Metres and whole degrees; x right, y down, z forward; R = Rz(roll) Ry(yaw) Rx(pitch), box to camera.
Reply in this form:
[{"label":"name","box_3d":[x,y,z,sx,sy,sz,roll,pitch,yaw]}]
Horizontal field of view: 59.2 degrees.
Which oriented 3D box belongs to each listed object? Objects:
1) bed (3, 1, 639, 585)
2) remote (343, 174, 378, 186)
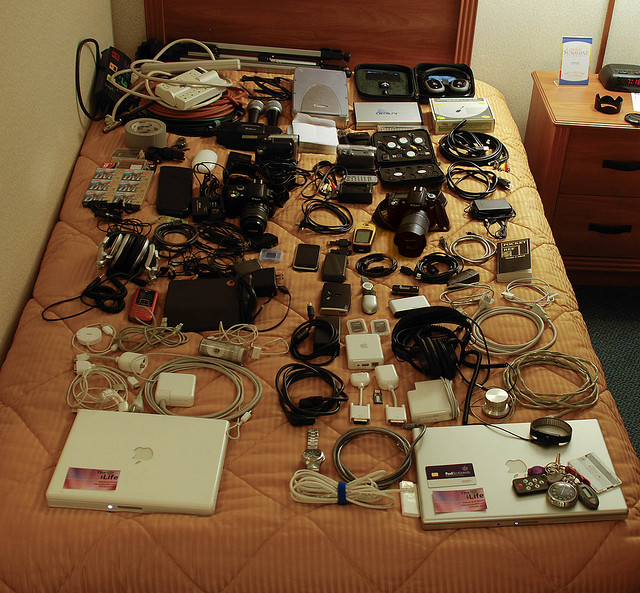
[{"label":"bed","box_3d":[-0.072,-0.099,2.060,1.557,0.573,2.162,0,42,0]},{"label":"remote","box_3d":[0.158,-0.461,2.222,0.127,0.021,0.051,3,45,-1]}]
